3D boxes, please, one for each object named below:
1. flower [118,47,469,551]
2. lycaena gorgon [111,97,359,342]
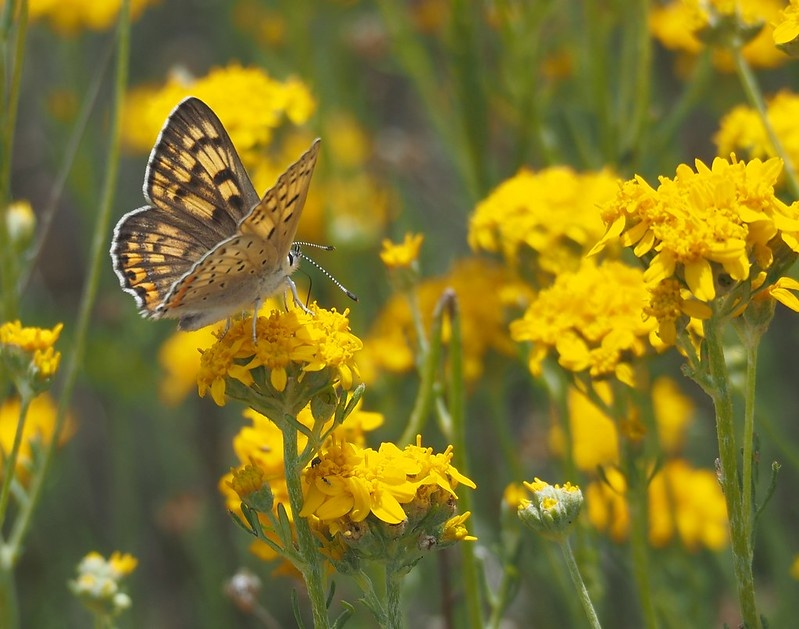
[{"bbox_3d":[-0.192,-0.112,1.649,0.424,0.538,0.791,-2,12,-16],"label":"flower"},{"bbox_3d":[-0.228,-0.128,1.529,0.319,0.279,0.276,14,16,40],"label":"lycaena gorgon"}]
